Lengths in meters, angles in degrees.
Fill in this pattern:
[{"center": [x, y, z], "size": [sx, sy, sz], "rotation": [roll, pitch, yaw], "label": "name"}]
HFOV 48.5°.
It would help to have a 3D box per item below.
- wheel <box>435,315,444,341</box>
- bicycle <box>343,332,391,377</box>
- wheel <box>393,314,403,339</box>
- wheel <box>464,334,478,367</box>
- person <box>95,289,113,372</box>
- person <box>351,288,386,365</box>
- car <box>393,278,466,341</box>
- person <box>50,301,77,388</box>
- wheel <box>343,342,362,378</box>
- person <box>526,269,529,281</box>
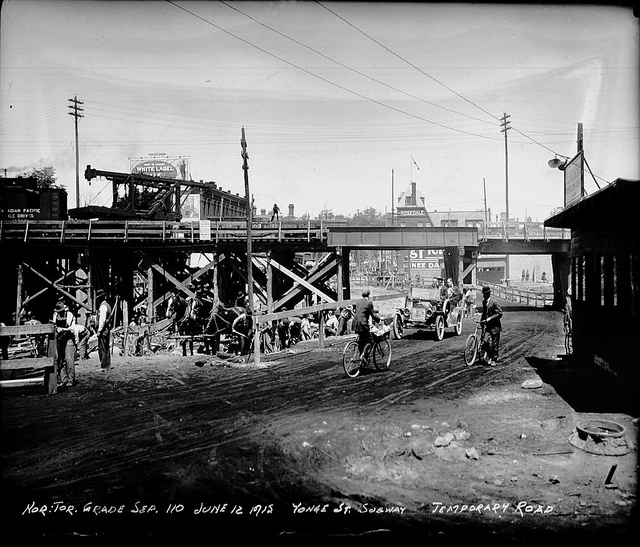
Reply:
[{"center": [3.738, 1.732, 22.492], "size": [0.116, 0.911, 0.702], "rotation": [-2, -3, 24], "label": "wheel"}, {"center": [1.136, 2.061, 18.219], "size": [0.650, 1.085, 1.582], "rotation": [5, 9, 39], "label": "bicycle"}, {"center": [2.472, 1.713, 22.977], "size": [0.282, 0.829, 0.399], "rotation": [2, 13, 6], "label": "wheel"}, {"center": [3.901, 1.983, 18.491], "size": [0.236, 0.856, 0.698], "rotation": [5, 15, 20], "label": "wheel"}, {"center": [-5.755, 1.517, 18.647], "size": [0.461, 1.984, 0.592], "rotation": [2, -1, -3], "label": "person"}, {"center": [1.048, 1.147, 17.616], "size": [0.546, 1.585, 0.845], "rotation": [7, 17, 12], "label": "person"}, {"center": [3.762, 1.171, 23.523], "size": [1.344, 1.429, 2.644], "rotation": [2, 6, 20], "label": "car"}, {"center": [-6.196, 1.668, 16.982], "size": [0.646, 2.078, 0.547], "rotation": [-2, -2, 43], "label": "person"}, {"center": [0.770, 2.118, 17.468], "size": [0.365, 0.917, 0.781], "rotation": [7, 16, 27], "label": "wheel"}, {"center": [21.519, 0.102, 74.123], "size": [0.246, 1.491, 0.224], "rotation": [3, -33, 1], "label": "person"}]
